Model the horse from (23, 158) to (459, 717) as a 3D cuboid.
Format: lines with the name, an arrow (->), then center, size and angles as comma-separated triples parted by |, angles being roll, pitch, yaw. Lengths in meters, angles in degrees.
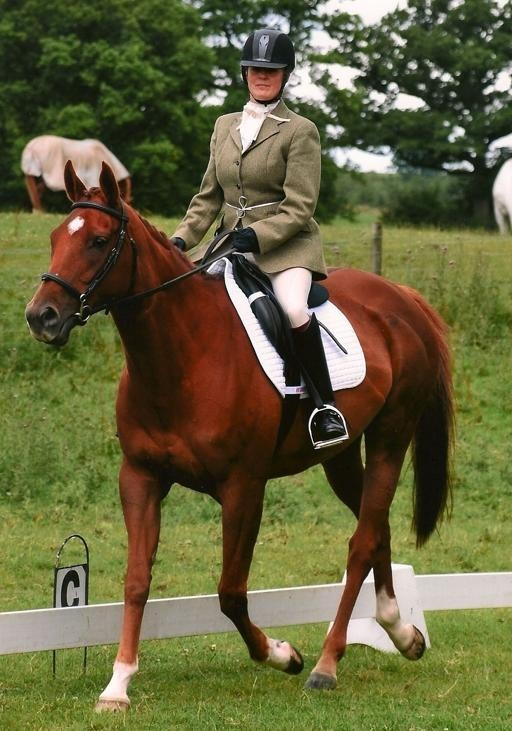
horse -> 0.087, 0.360, 4.523 | 2.615, 2.441, 0.815 | -5, 13, -44

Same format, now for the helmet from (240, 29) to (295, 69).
helmet -> 0.054, -1.467, 4.423 | 0.280, 0.161, 0.343 | 4, 17, 4
